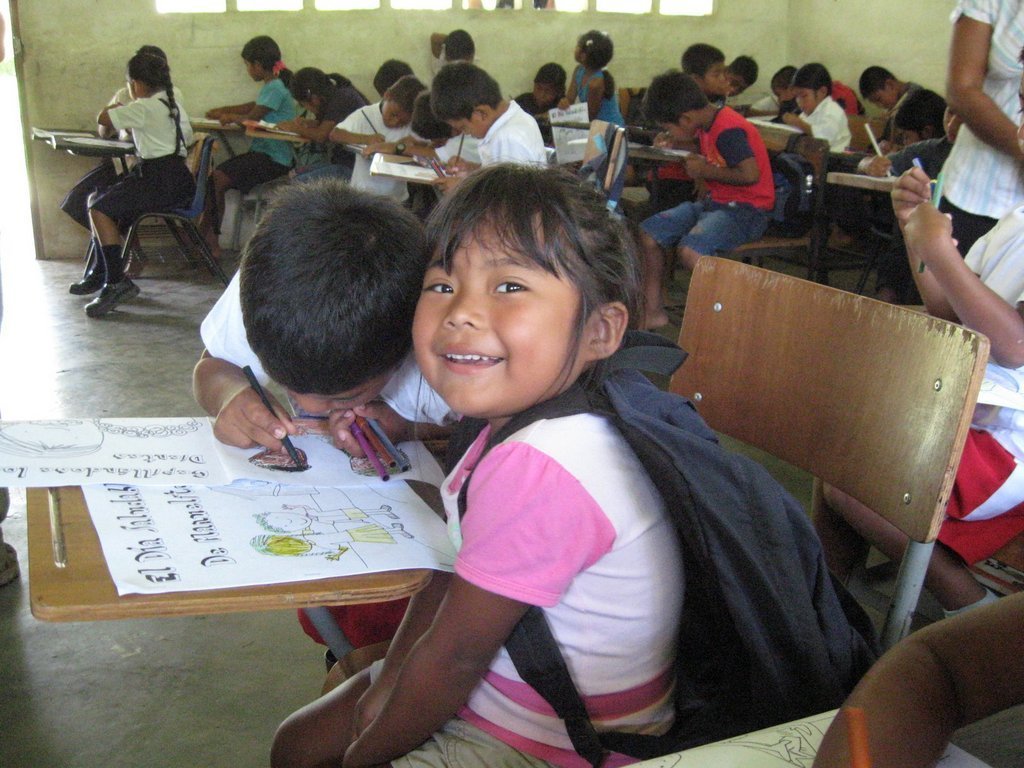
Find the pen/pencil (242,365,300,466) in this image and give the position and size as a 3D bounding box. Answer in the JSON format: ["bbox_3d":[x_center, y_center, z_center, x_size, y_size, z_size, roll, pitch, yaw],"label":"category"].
[{"bbox_3d":[-0.362,0.050,1.150,0.018,0.026,0.204,-25,55,-27],"label":"pen/pencil"}]

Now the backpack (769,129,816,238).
[{"bbox_3d":[1.340,-0.897,3.628,0.192,0.351,0.245,5,23,13],"label":"backpack"}]

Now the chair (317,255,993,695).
[{"bbox_3d":[0.161,0.112,0.964,0.474,0.633,0.530,-3,29,-31],"label":"chair"}]

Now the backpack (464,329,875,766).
[{"bbox_3d":[0.213,0.127,1.017,0.551,0.529,0.370,-15,20,8],"label":"backpack"}]

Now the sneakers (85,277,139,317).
[{"bbox_3d":[-2.156,-0.464,4.133,0.090,0.114,0.269,16,57,44],"label":"sneakers"}]
